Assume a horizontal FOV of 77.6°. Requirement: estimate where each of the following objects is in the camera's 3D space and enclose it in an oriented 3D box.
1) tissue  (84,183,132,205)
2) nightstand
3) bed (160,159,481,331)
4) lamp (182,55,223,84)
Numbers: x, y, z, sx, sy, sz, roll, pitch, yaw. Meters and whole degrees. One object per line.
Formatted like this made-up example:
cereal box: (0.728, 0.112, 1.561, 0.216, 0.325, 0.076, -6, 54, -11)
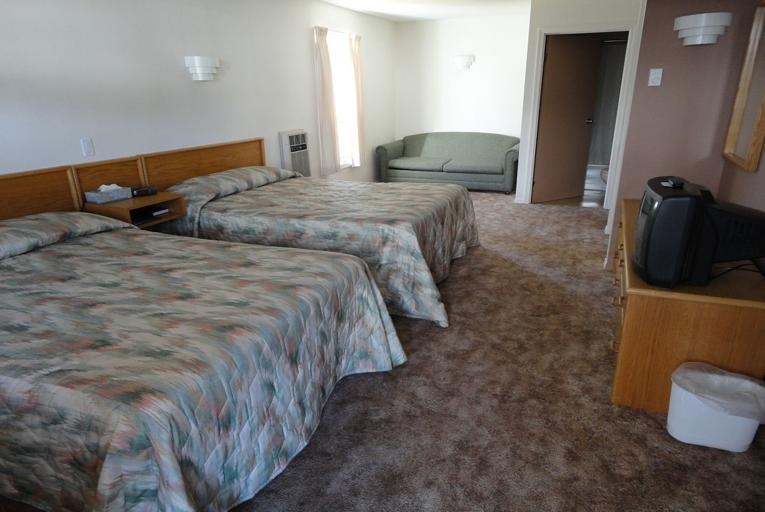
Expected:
tissue : (-2.162, -0.500, 3.789, 0.334, 0.122, 0.181, -19, 25, -41)
nightstand: (-1.924, -0.374, 3.825, 0.392, 0.201, 0.510, 8, 19, 20)
bed: (-0.507, -0.294, 3.908, 2.297, 0.599, 1.372, 6, 22, 14)
lamp: (-1.597, -1.721, 4.360, 0.246, 0.257, 0.389, 3, 28, 6)
